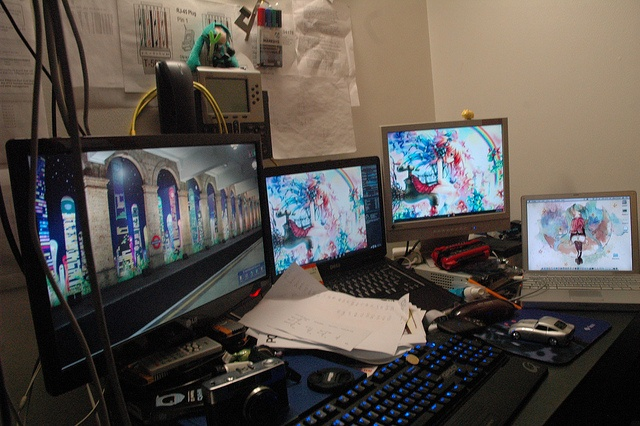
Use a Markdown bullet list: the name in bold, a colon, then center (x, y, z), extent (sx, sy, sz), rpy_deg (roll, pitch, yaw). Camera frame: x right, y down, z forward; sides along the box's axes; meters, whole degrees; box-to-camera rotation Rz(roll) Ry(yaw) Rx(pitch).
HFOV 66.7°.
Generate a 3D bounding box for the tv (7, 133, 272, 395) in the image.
- **tv**: center (-0.432, 0.129, 1.182), extent (0.029, 0.487, 0.674), rpy_deg (4, 15, 37)

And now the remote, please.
- **remote**: center (-0.347, 0.335, 1.198), extent (0.139, 0.025, 0.074), rpy_deg (-17, 26, -36)

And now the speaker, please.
- **speaker**: center (-0.422, -0.341, 1.443), extent (0.113, 0.210, 0.143), rpy_deg (-7, 13, -21)

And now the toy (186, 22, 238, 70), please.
- **toy**: center (-0.379, -0.569, 1.692), extent (0.173, 0.164, 0.078), rpy_deg (-12, 16, -38)

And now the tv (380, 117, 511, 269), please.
- **tv**: center (0.476, -0.075, 1.835), extent (0.525, 0.462, 0.073), rpy_deg (-6, 7, -10)

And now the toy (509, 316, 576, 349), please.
- **toy**: center (0.631, 0.324, 1.371), extent (0.125, 0.044, 0.083), rpy_deg (4, 9, 29)

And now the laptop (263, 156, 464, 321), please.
- **laptop**: center (0.114, -0.034, 1.560), extent (0.521, 0.381, 0.524), rpy_deg (-10, 17, -35)
